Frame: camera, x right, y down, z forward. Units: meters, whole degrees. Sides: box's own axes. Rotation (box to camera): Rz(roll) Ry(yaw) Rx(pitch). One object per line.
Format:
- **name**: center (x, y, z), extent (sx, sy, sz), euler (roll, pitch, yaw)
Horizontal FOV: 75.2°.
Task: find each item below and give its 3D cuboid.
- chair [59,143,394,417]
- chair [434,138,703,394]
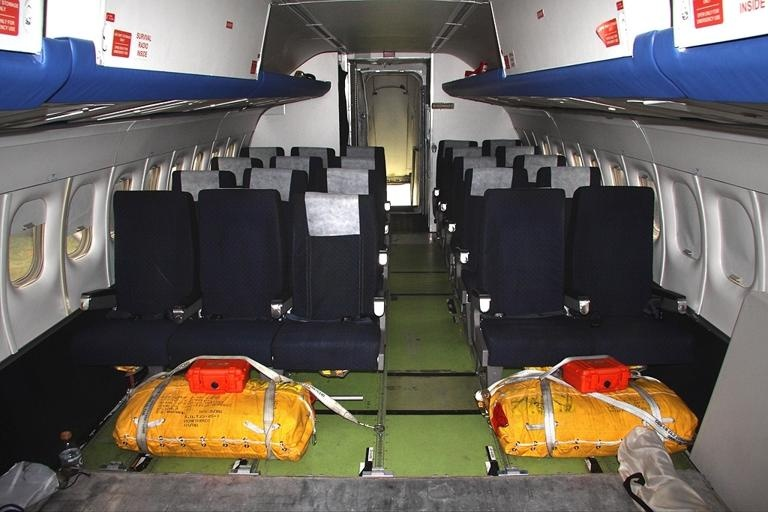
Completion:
- **chair**: center (-1.294, 0.187, 5.520), extent (2.625, 2.096, 1.608), euler (0, 7, 2)
- **chair**: center (2.021, 0.138, 5.622), extent (2.164, 2.298, 1.893), euler (0, 7, 1)
